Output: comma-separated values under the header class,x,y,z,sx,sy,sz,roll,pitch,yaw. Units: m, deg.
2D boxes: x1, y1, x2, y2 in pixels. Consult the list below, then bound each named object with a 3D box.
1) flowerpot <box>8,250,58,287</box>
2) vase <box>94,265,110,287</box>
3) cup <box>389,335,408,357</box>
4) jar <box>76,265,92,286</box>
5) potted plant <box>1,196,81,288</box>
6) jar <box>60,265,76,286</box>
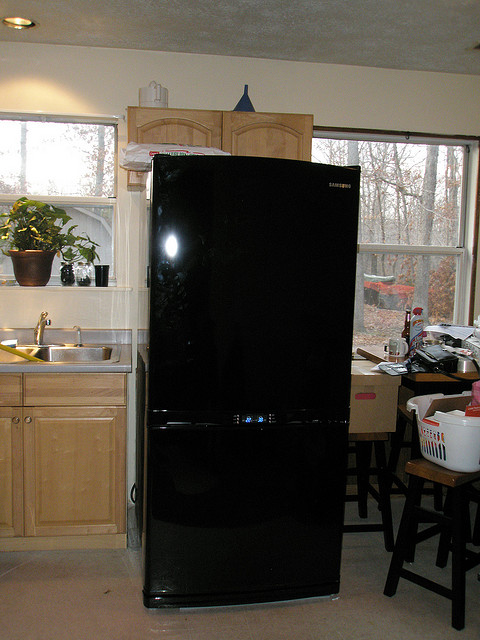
class,x,y,z,sx,sy,sz,roll,pitch,yaw
flowerpot,-1.031,-0.264,2.824,0.200,0.146,0.195,1,2,-5
vase,-0.725,-0.231,2.972,0.067,0.110,0.109,0,6,-13
cup,0.787,0.134,2.905,0.066,0.103,0.106,-2,7,-36
jar,-0.823,-0.236,3.018,0.103,0.144,0.095,1,-3,0
potted plant,-1.025,-0.390,3.083,0.429,0.515,0.477,5,-6,-43
jar,-0.917,-0.240,3.022,0.077,0.108,0.159,0,6,-18
